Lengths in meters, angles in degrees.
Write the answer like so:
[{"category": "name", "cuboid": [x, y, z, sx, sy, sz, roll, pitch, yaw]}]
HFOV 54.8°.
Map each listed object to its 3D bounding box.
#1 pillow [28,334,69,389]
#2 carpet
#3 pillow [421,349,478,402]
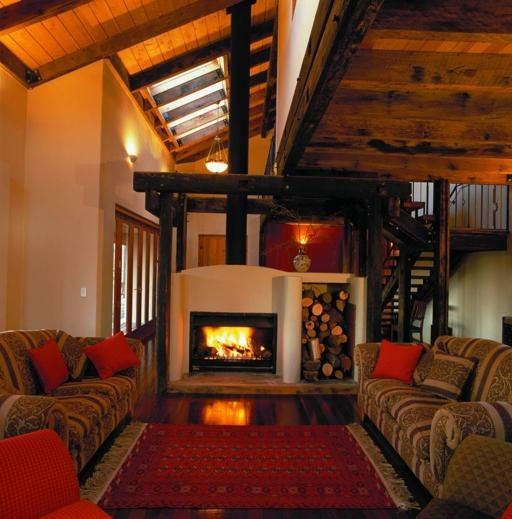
[{"category": "pillow", "cuboid": [-1.537, 0.772, 3.639, 0.159, 0.281, 0.363, -9, -3, 4]}, {"category": "carpet", "cuboid": [-0.074, 1.432, 3.430, 2.060, 0.048, 1.221, 1, 4, -2]}, {"category": "pillow", "cuboid": [1.393, 0.835, 3.546, 0.095, 0.277, 0.305, 30, -7, -20]}]
